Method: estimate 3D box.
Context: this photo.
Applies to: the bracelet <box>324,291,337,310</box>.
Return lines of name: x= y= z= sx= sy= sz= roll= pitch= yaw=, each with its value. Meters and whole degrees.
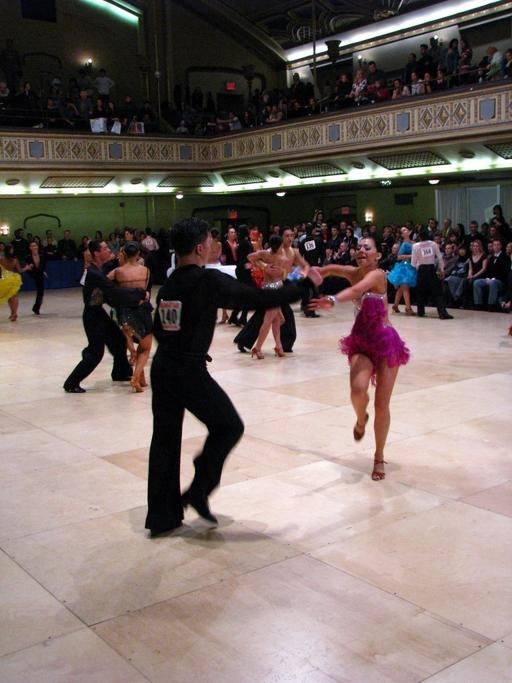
bracelet: x=0.469 y=-0.250 z=3.316 sx=0.037 sy=0.092 sz=0.087 roll=-8 pitch=21 yaw=11

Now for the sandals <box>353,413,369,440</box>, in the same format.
sandals: x=0.762 y=0.633 z=3.896 sx=0.096 sy=0.254 sz=0.082 roll=6 pitch=10 yaw=0

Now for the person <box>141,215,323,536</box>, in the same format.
person: x=-0.239 y=0.228 z=2.696 sx=0.921 sy=1.683 sz=0.272 roll=0 pitch=7 yaw=31

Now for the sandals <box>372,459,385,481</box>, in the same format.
sandals: x=0.847 y=0.907 z=3.714 sx=0.093 sy=0.120 sz=0.136 roll=-2 pitch=5 yaw=11
